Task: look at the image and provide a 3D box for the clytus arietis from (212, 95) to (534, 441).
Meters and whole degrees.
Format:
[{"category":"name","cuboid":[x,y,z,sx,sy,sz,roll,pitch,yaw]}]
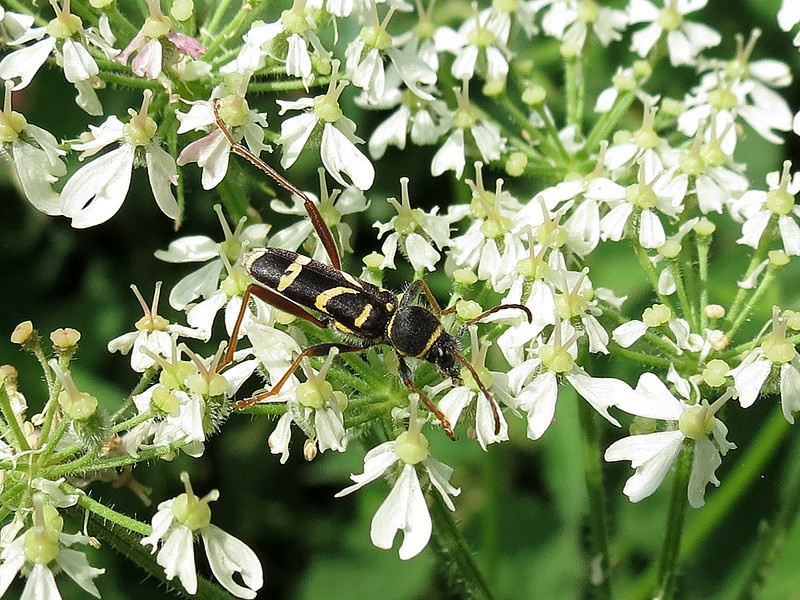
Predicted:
[{"category":"clytus arietis","cuboid":[-0.394,0.076,6.576,2.639,0.867,1.882,33,62,-4]}]
